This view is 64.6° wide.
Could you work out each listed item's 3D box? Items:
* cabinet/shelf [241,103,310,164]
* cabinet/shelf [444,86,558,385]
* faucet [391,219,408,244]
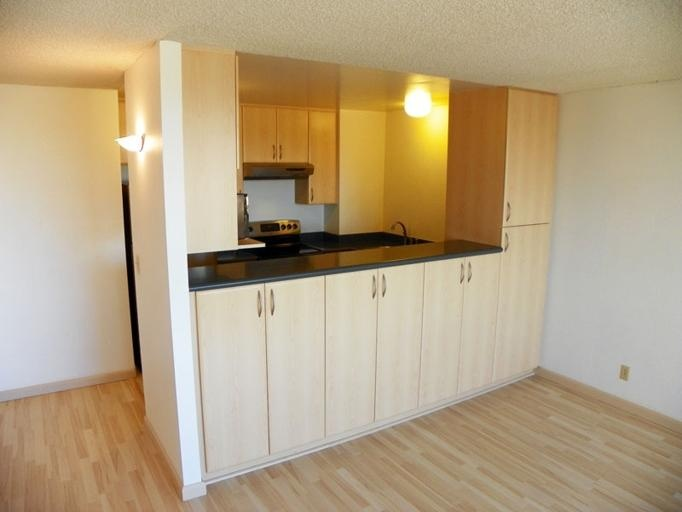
[{"bbox_3d":[-0.748,-1.271,5.831,0.752,0.610,0.272,-7,21,-27],"label":"cabinet/shelf"},{"bbox_3d":[1.449,-0.133,5.072,0.885,2.709,0.798,-18,25,-40],"label":"cabinet/shelf"},{"bbox_3d":[0.698,-0.253,6.082,0.166,0.242,0.438,0,9,-4],"label":"faucet"}]
